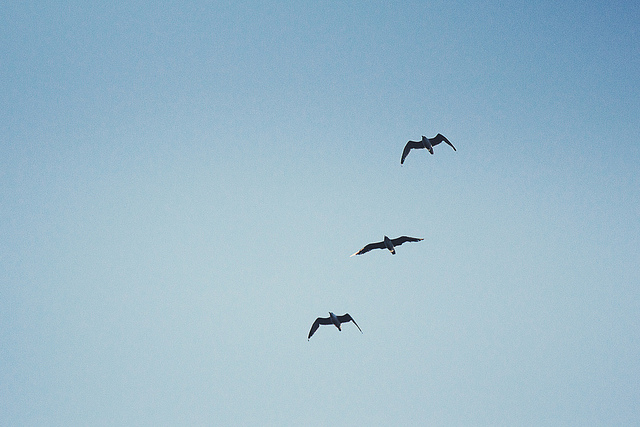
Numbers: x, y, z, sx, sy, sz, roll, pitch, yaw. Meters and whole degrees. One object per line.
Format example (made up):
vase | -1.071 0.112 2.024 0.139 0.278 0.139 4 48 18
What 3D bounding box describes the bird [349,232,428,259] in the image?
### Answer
bird | 0.274 0.145 4.913 0.258 0.049 0.102 -13 -80 -6
